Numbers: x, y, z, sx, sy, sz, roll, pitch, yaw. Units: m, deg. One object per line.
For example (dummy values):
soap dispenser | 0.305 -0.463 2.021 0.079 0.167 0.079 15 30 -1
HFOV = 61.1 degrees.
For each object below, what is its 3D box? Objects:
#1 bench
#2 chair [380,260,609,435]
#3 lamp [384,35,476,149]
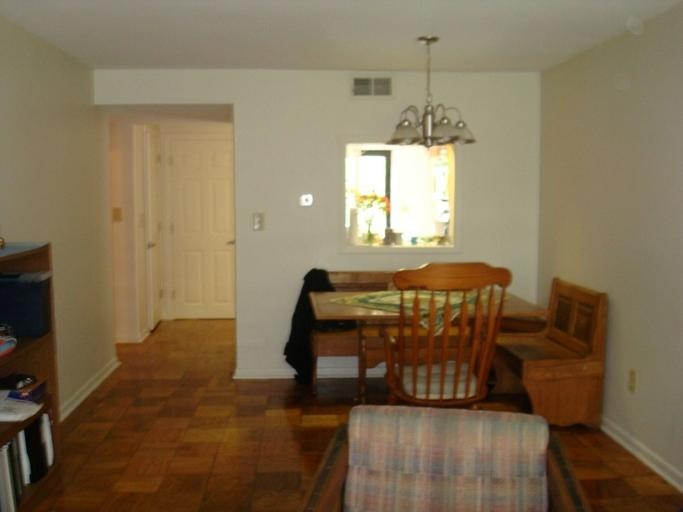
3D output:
bench | 0.474 0.639 4.207 1.038 0.692 0.599 2 -7 41
chair | 1.414 0.672 4.461 0.778 1.432 1.450 1 0 7
lamp | 0.585 -1.110 3.937 0.576 0.727 0.667 -4 9 -2
